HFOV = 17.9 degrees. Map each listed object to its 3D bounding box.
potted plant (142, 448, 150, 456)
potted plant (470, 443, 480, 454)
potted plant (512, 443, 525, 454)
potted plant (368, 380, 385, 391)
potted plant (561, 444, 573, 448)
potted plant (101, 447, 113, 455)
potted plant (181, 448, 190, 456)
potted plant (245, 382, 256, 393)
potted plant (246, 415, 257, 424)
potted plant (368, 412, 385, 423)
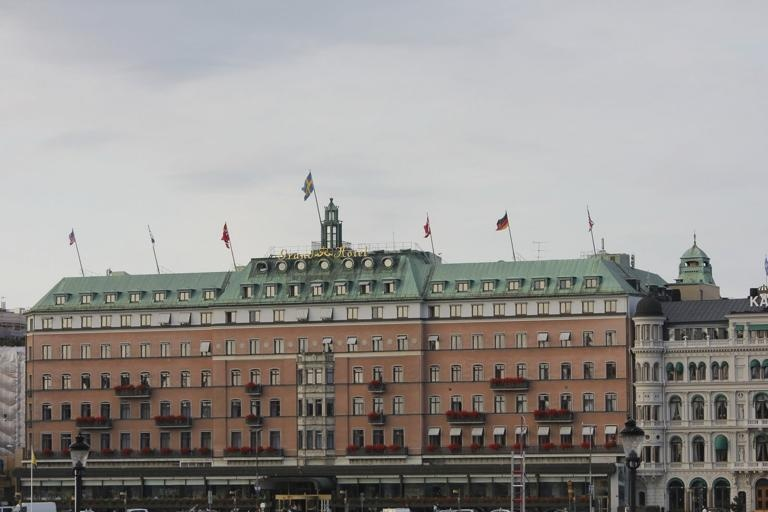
[{"bbox_3d":[-31.768,26.721,325.812,1.377,1.023,0.412,-6,-13,15],"label":"potted plant"},{"bbox_3d":[11.509,25.663,317.348,1.051,1.194,0.512,-1,1,19],"label":"potted plant"},{"bbox_3d":[16.865,25.427,315.291,1.425,0.782,1.364,1,-6,17],"label":"potted plant"},{"bbox_3d":[-1.108,17.664,320.869,2.307,1.451,1.241,0,-7,9],"label":"potted plant"},{"bbox_3d":[23.106,25.038,314.217,1.436,0.728,0.326,-3,-13,5],"label":"potted plant"},{"bbox_3d":[-37.086,26.783,326.920,1.521,1.074,0.563,-2,-12,0],"label":"potted plant"},{"bbox_3d":[-26.504,26.691,324.967,1.013,1.021,0.872,-9,-7,12],"label":"potted plant"},{"bbox_3d":[-17.787,17.988,323.788,1.457,1.356,0.477,-3,-13,2],"label":"potted plant"},{"bbox_3d":[-17.698,22.196,323.350,1.229,1.082,0.709,-2,-7,9],"label":"potted plant"},{"bbox_3d":[-1.219,21.830,320.218,2.419,1.158,1.539,-4,-7,13],"label":"potted plant"}]
